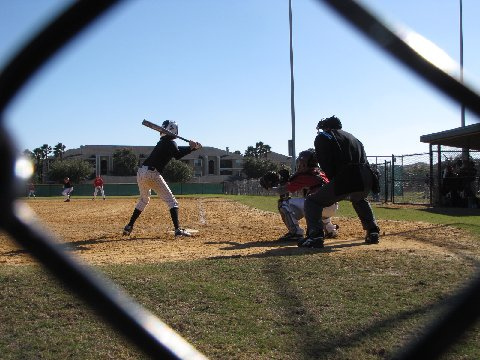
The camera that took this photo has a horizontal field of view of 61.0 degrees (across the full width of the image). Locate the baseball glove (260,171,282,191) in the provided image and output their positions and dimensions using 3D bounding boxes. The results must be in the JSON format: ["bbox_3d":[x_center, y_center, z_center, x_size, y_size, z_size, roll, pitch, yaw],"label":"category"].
[{"bbox_3d":[0.451,0.000,6.476,0.245,0.244,0.325,3,-31,-31],"label":"baseball glove"}]

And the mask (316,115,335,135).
[{"bbox_3d":[1.244,-0.796,6.017,0.230,0.212,0.558,2,12,12],"label":"mask"}]

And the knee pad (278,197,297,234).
[{"bbox_3d":[0.767,0.553,6.323,0.169,0.470,0.357,-16,-1,-9],"label":"knee pad"}]

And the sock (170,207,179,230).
[{"bbox_3d":[-1.127,0.661,7.020,0.133,0.415,0.215,-3,12,-11],"label":"sock"}]

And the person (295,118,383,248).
[{"bbox_3d":[1.389,0.158,5.708,1.235,1.631,0.539,-8,14,-29],"label":"person"}]

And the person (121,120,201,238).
[{"bbox_3d":[-1.359,0.032,7.046,1.351,2.029,0.625,-3,12,-7],"label":"person"}]
